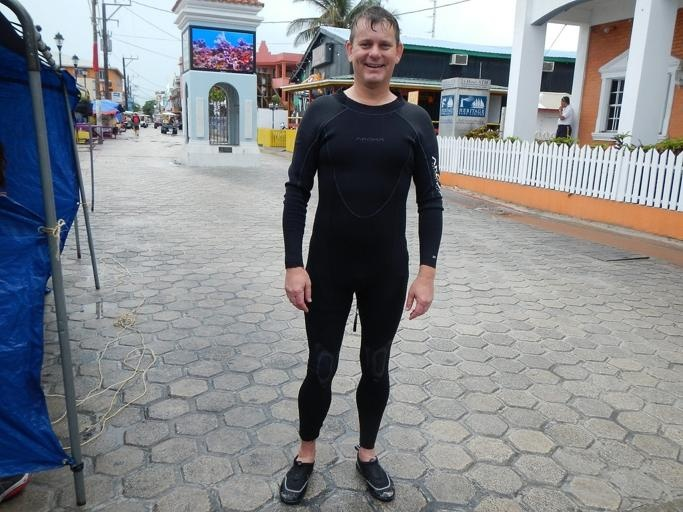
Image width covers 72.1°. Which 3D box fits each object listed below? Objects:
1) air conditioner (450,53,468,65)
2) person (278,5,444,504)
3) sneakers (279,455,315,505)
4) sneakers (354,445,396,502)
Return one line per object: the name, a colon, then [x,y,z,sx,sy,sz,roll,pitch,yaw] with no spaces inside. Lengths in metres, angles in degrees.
air conditioner: [5.955,-10.135,23.997,0.814,0.481,0.417,-5,28,-14]
person: [0.088,0.032,2.547,0.929,2.636,0.629,-1,17,-5]
sneakers: [-0.267,1.270,2.663,0.110,0.105,0.280,10,7,6]
sneakers: [0.183,1.275,2.725,0.129,0.106,0.280,-3,13,-25]
